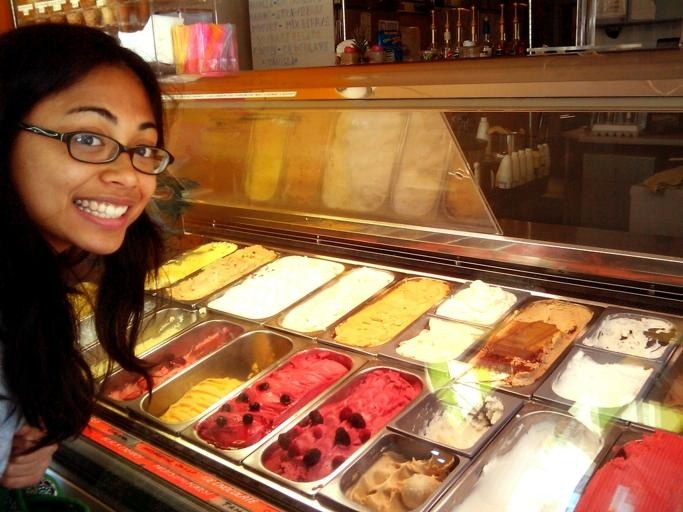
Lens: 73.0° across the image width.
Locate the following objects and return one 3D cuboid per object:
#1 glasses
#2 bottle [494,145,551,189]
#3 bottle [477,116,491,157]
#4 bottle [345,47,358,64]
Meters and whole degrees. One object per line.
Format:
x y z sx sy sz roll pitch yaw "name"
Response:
-0.551 -0.257 1.128 0.130 0.145 0.323 11 22 31 "glasses"
0.618 -0.308 1.609 0.077 0.176 0.216 -14 23 -29 "bottle"
0.495 -0.418 1.611 0.053 0.138 0.098 4 21 15 "bottle"
0.050 -1.103 2.548 0.079 0.083 0.191 -1 19 3 "bottle"
